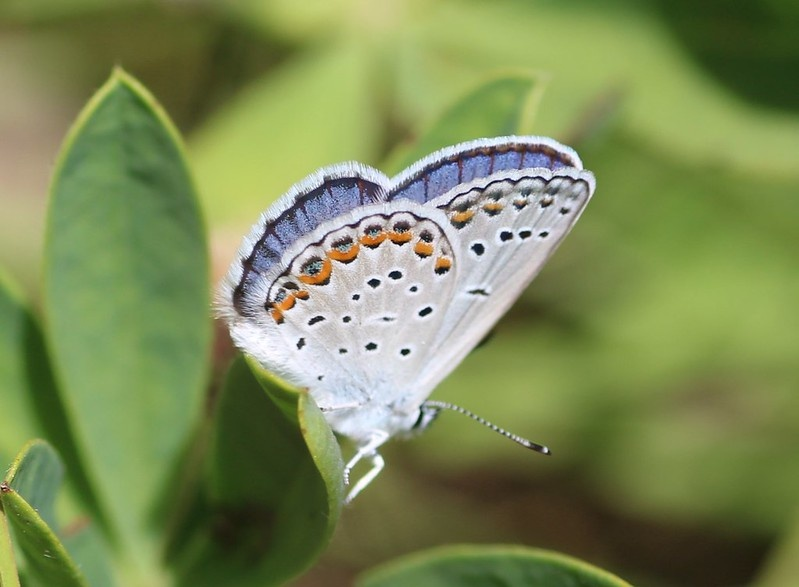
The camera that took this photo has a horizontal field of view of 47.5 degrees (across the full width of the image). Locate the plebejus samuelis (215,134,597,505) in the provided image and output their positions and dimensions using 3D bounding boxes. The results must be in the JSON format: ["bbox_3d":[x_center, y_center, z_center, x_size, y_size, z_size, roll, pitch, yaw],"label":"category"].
[{"bbox_3d":[-0.039,0.089,1.322,0.443,0.539,0.447,20,46,-6],"label":"plebejus samuelis"}]
